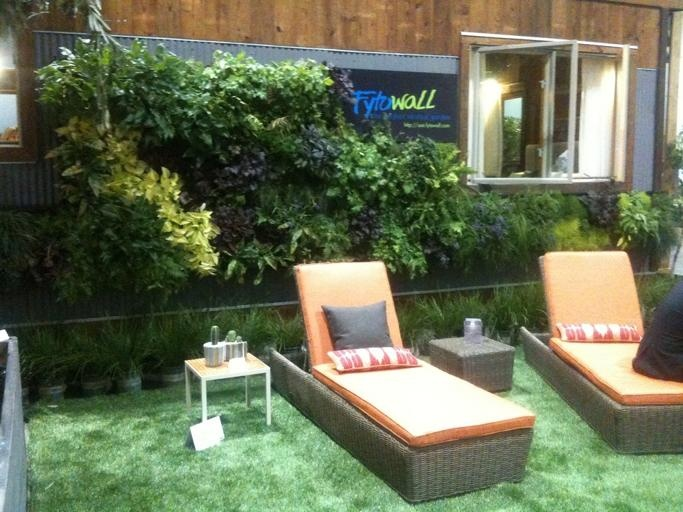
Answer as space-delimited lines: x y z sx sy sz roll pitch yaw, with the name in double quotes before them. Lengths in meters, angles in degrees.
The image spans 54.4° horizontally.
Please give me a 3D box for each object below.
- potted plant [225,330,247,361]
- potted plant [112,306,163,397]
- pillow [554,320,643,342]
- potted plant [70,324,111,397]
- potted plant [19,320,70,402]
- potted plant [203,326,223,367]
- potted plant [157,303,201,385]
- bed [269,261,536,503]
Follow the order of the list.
"potted plant" -0.892 0.766 5.719 0.234 0.242 0.228 1 -1 -24
"potted plant" -1.955 0.948 6.302 0.251 0.634 0.424 -1 10 -32
"pillow" 2.395 0.673 6.170 0.734 0.156 0.533 2 8 7
"potted plant" -2.319 1.000 6.136 0.198 0.523 0.309 0 10 -27
"potted plant" -2.742 0.953 6.066 0.349 0.665 0.476 1 10 -30
"potted plant" -1.079 0.749 5.602 0.161 0.315 0.276 -5 9 -14
"potted plant" -1.559 0.810 6.414 0.238 0.586 0.332 -1 10 -29
"bed" 0.432 0.867 5.226 1.010 1.381 1.983 -8 10 -31
